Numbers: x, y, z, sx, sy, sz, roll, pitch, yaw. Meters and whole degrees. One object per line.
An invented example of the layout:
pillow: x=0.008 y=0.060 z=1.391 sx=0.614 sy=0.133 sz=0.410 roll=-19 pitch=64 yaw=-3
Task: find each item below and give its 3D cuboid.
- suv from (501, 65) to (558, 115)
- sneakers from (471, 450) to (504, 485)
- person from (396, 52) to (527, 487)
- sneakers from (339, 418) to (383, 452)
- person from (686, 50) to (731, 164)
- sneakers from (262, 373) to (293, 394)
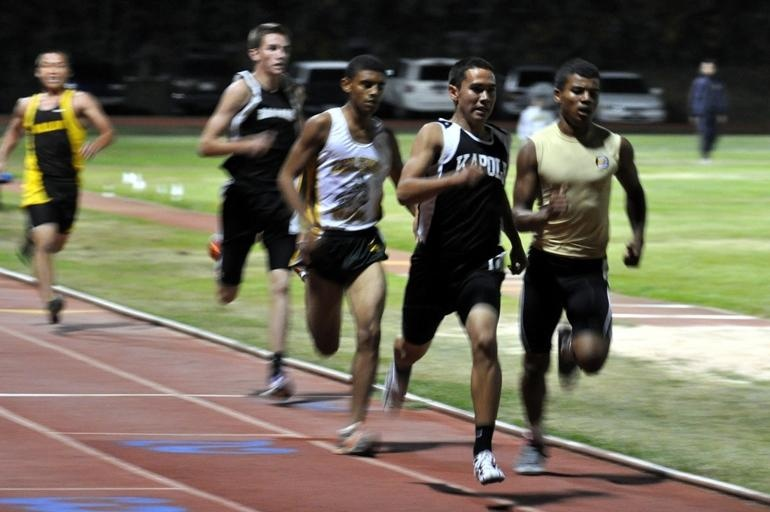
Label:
suv: x=5.568 y=-6.339 z=38.682 sx=2.576 sy=1.389 sz=3.207 roll=1 pitch=29 yaw=4
sneakers: x=0.583 y=1.207 z=5.714 sx=0.141 sy=0.215 sz=0.199 roll=3 pitch=8 yaw=-4
person: x=0.431 y=0.043 z=6.198 sx=0.804 sy=2.537 sz=1.516 roll=5 pitch=9 yaw=1
sneakers: x=-0.183 y=1.152 z=6.458 sx=0.233 sy=0.221 sz=0.122 roll=4 pitch=9 yaw=2
person: x=7.706 y=-3.485 z=24.105 sx=0.855 sy=2.340 sz=1.504 roll=7 pitch=9 yaw=13
sneakers: x=-0.784 y=0.951 z=7.487 sx=0.263 sy=0.175 sz=0.116 roll=-4 pitch=40 yaw=-3
